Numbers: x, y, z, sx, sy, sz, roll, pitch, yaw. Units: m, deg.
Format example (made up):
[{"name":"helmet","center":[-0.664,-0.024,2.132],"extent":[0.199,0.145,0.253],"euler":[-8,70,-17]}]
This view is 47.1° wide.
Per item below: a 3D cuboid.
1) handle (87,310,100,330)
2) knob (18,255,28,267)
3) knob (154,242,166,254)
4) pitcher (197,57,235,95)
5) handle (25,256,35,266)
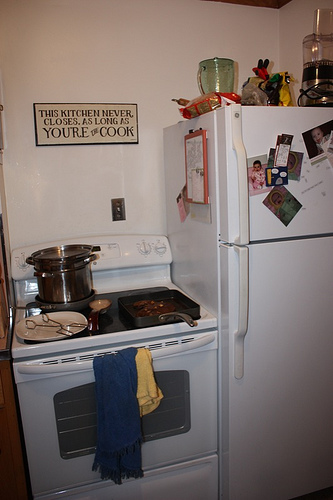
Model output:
[{"name":"handle","center":[-0.252,0.243,1.320],"extent":[0.027,0.023,0.126],"euler":[2,16,-11]},{"name":"knob","center":[-0.622,0.048,1.649],"extent":[0.038,0.056,0.013],"euler":[0,-10,-7]},{"name":"knob","center":[-0.032,-0.011,1.857],"extent":[0.048,0.050,0.050],"euler":[2,6,-8]},{"name":"pitcher","center":[0.187,-0.636,1.445],"extent":[0.133,0.153,0.145],"euler":[-8,23,-24]},{"name":"handle","center":[-0.520,0.036,1.462],"extent":[0.033,0.014,0.037],"euler":[16,17,28]}]
